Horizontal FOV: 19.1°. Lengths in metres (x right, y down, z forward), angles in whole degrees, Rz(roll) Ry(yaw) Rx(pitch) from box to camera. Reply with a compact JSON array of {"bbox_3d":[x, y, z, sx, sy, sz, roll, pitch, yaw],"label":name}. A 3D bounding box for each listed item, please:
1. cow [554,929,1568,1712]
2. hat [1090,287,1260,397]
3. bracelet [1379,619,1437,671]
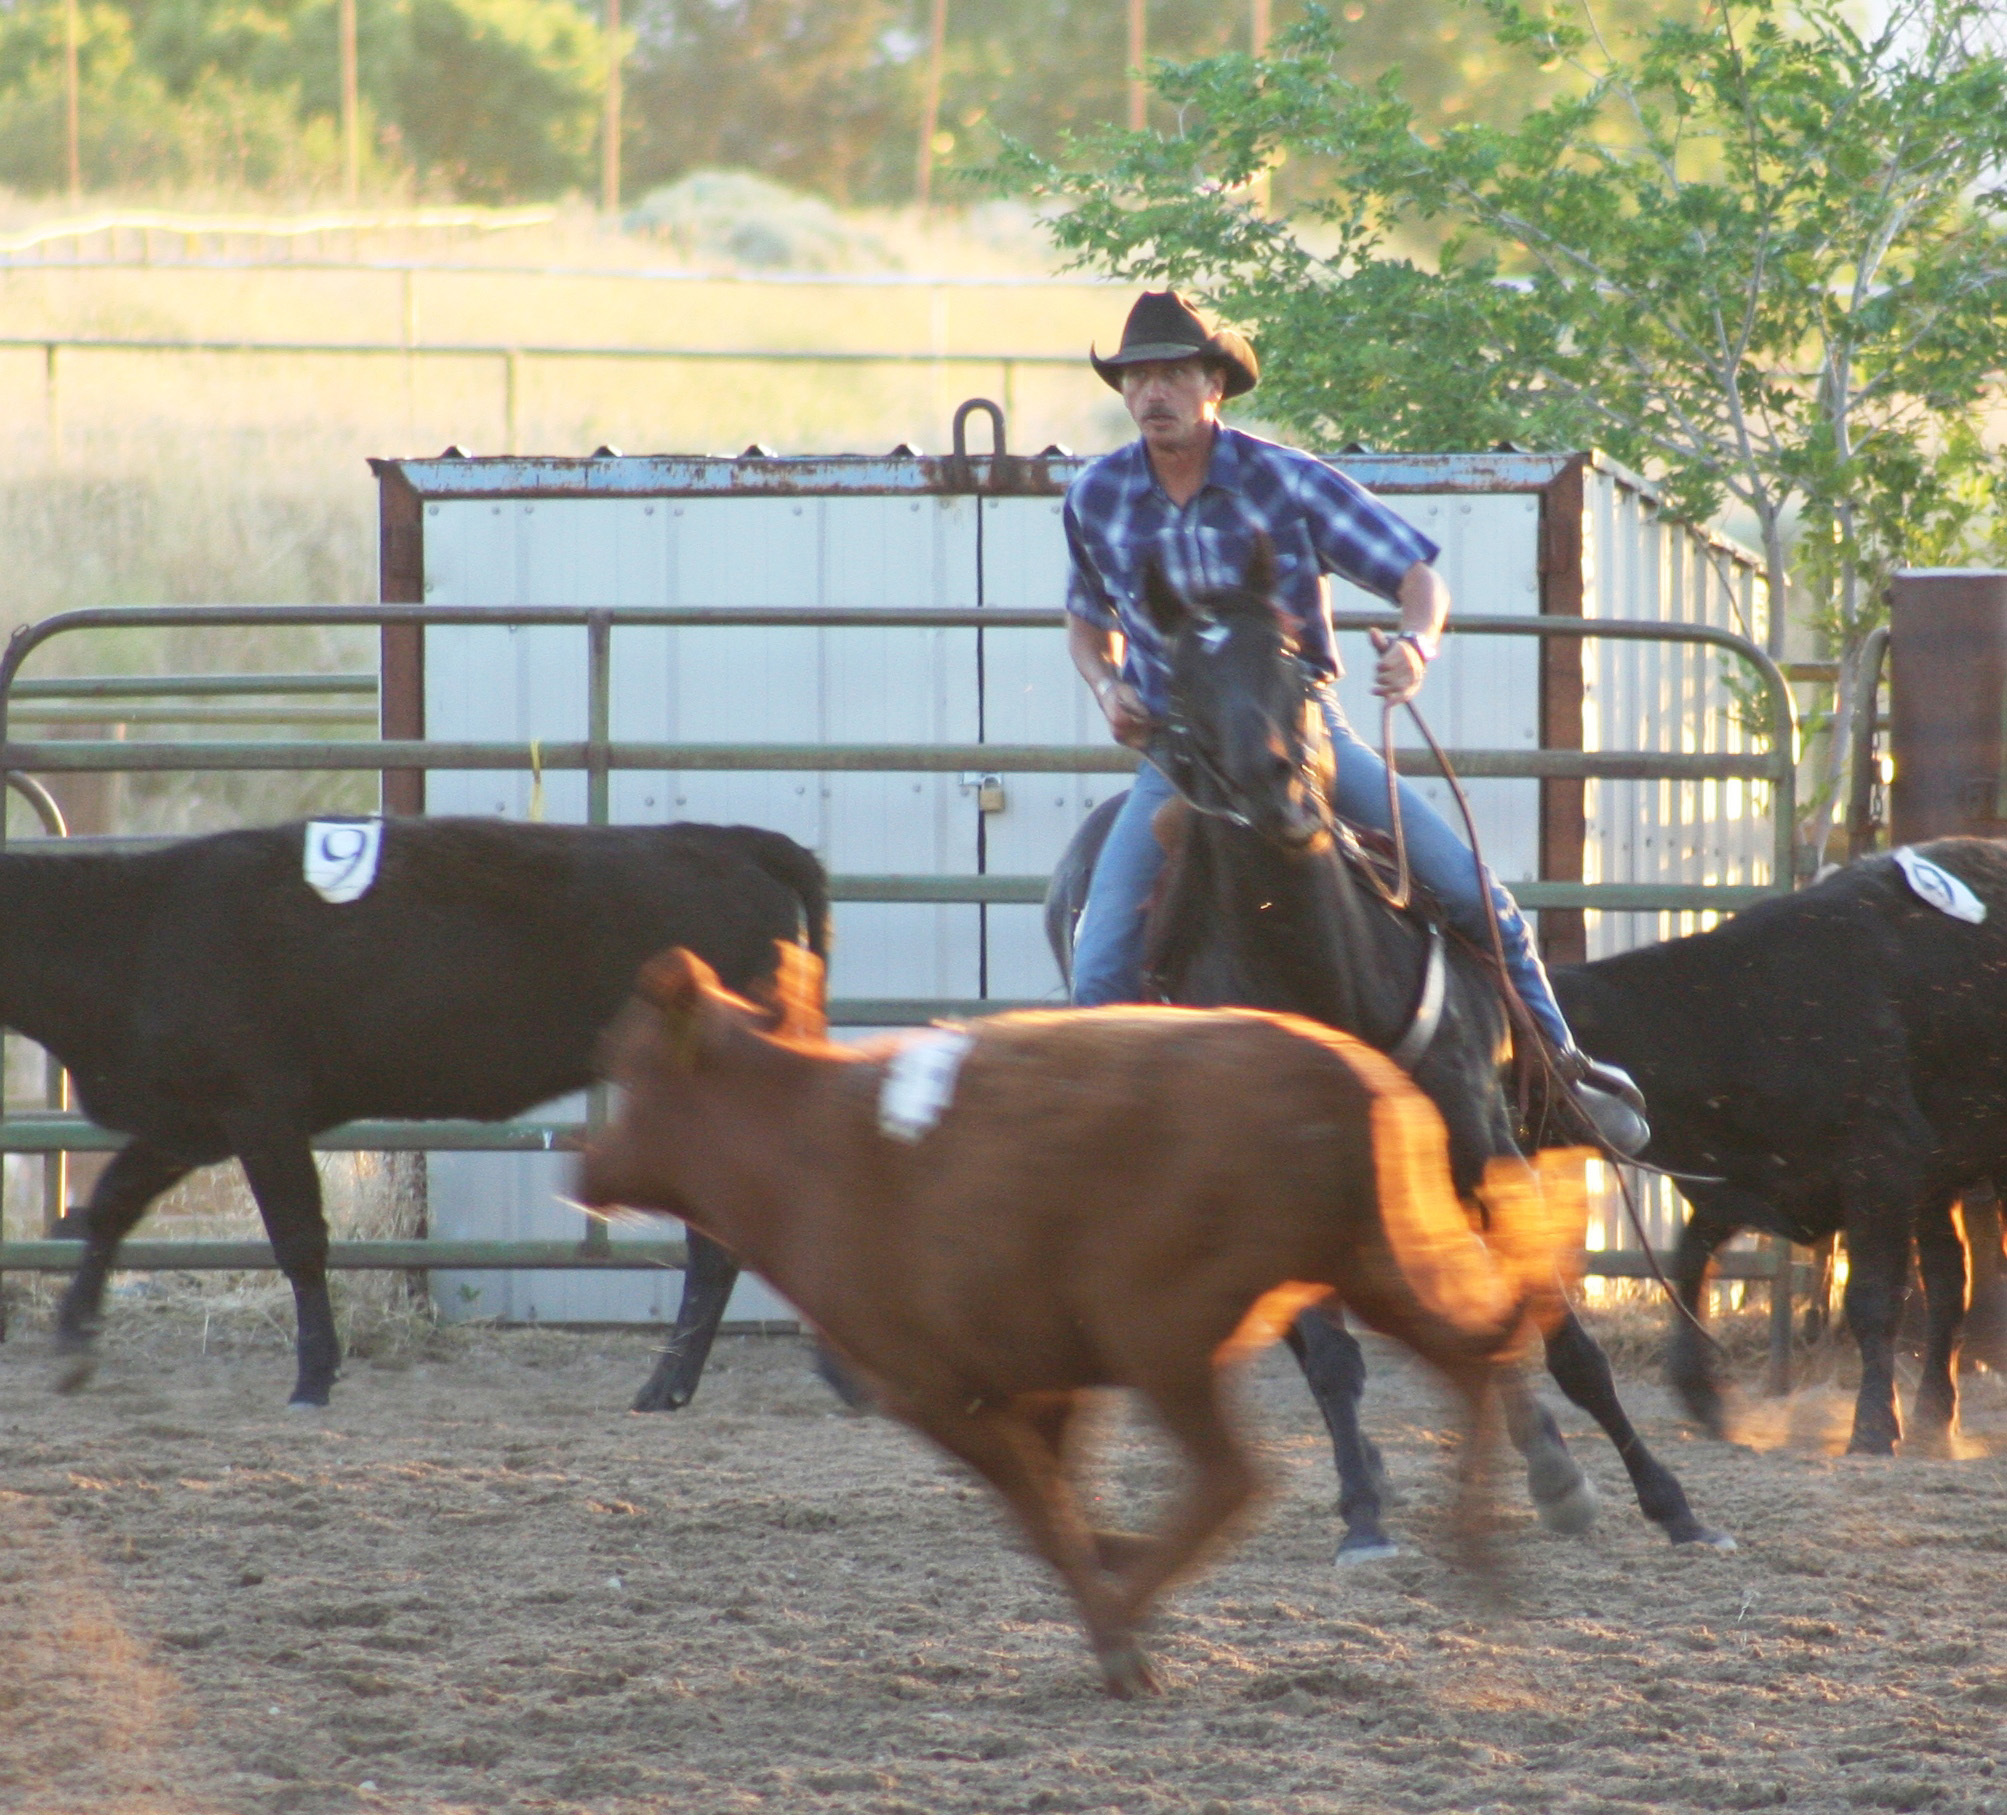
[{"bbox_3d":[0.238,1.603,24.157,4.739,2.701,1.224,6,9,35],"label":"cow"},{"bbox_3d":[0.746,-2.364,24.976,0.672,0.479,0.333,0,14,-1],"label":"hat"},{"bbox_3d":[1.684,-1.137,24.781,0.246,0.246,0.246,0,-9,19],"label":"bracelet"}]
